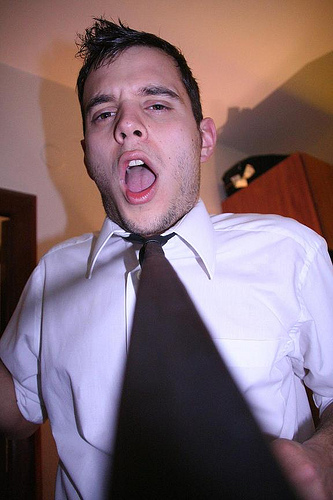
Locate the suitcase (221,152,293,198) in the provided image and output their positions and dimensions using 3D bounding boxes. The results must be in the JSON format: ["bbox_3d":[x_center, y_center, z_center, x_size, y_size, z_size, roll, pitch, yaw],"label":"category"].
[{"bbox_3d":[0.563,-0.369,2.300,0.418,0.148,0.322,-1,-18,-18],"label":"suitcase"}]
